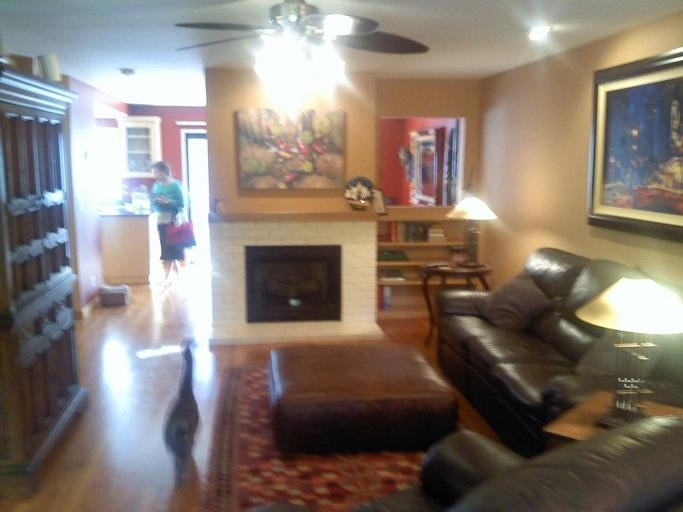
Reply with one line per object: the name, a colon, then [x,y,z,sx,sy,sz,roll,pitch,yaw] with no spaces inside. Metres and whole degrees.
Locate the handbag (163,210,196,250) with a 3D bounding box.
handbag: [-2.306,-0.367,7.654,0.564,0.704,0.401,-2,7,-26]

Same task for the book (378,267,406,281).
book: [0.555,0.204,6.115,0.287,0.089,0.247,0,12,1]

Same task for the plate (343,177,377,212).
plate: [0.185,-0.641,5.544,0.317,0.242,0.323,0,3,-7]

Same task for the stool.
stool: [0.135,0.916,3.753,0.824,0.309,0.745,-1,8,-5]

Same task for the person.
person: [-2.389,-0.461,7.556,0.499,1.683,0.395,11,17,40]

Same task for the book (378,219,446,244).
book: [0.787,-0.282,6.132,0.745,0.247,0.235,0,12,2]

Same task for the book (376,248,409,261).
book: [0.572,-0.005,6.159,0.331,0.109,0.215,0,12,1]

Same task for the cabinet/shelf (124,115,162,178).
cabinet/shelf: [-3.531,-1.931,9.634,0.635,1.046,0.225,-5,14,-20]

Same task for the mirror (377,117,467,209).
mirror: [1.004,-1.102,6.630,0.104,1.074,1.320,-5,7,-39]

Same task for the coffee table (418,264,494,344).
coffee table: [1.159,0.409,5.664,0.862,0.856,0.817,-1,5,-7]
